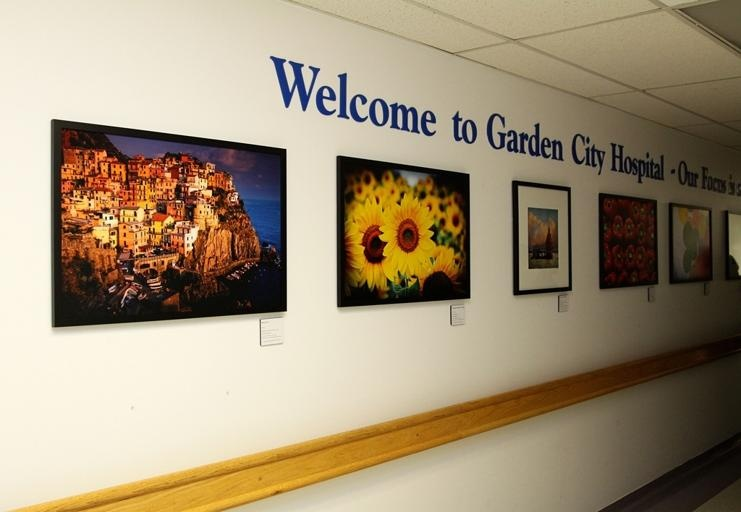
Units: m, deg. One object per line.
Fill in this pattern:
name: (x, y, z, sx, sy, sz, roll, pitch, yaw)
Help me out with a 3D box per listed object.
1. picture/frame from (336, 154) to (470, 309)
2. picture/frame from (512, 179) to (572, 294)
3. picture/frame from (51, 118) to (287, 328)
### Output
picture/frame: (0.218, -0.146, 3.263, 1.028, 0.851, 0.035, 2, -3, -30)
picture/frame: (1.367, -0.168, 4.070, 0.871, 1.064, 0.039, -4, 5, -38)
picture/frame: (-1.033, -0.165, 2.476, 1.077, 0.822, 0.044, 0, -1, -40)
